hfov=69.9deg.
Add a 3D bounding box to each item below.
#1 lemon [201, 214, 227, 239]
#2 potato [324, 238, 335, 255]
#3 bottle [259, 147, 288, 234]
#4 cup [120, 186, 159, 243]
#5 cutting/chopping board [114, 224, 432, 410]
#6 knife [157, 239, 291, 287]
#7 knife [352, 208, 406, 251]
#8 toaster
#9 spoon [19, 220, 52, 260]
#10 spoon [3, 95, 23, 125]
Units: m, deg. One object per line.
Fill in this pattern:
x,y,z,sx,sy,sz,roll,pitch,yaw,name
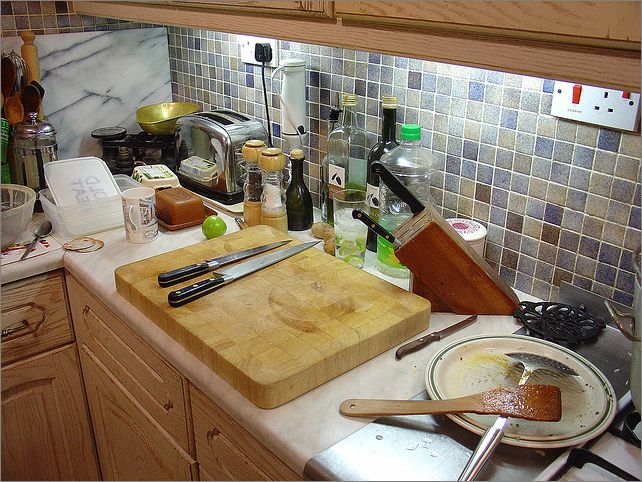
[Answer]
-0.324,-0.041,1.438,0.068,0.081,0.069,24,37,29,lemon
0.026,0.018,1.340,0.040,0.041,0.022,-15,-24,40,potato
-0.151,-0.146,1.433,0.090,0.276,0.137,-5,26,-7,bottle
-0.563,-0.067,1.394,0.095,0.148,0.163,6,23,2,cup
-0.070,0.162,1.026,0.354,0.067,0.485,-18,31,-36,cutting/chopping board
-0.190,0.049,1.298,0.533,0.045,0.085,-17,26,-39,knife
0.156,-0.033,1.220,0.160,0.023,0.022,40,34,0,knife
-0.342,-0.287,1.598,0.177,0.227,0.300,-21,36,-39,toaster
-0.888,0.000,1.419,0.031,0.019,0.165,34,30,-10,spoon
-1.063,-0.447,1.604,0.079,0.102,0.021,-8,6,11,spoon
